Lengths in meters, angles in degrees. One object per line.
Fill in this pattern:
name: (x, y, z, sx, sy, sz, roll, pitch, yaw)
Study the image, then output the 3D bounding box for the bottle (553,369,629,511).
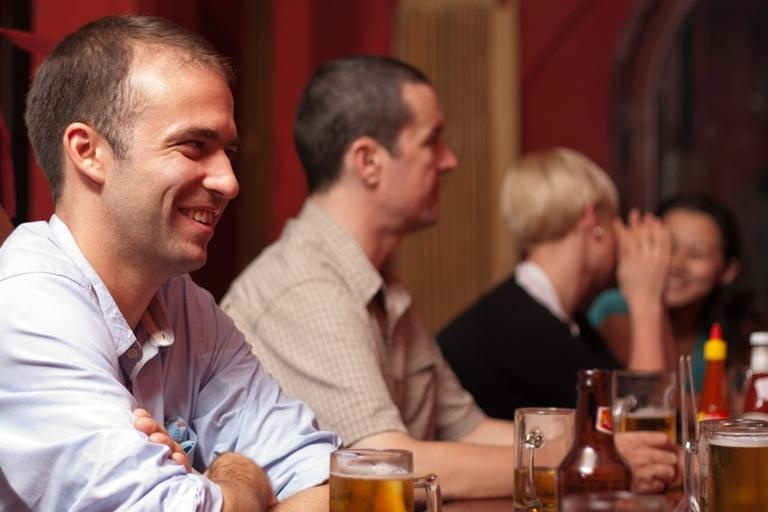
bottle: (0.395, 0.321, 1.523, 0.164, 0.230, 0.140, 4, -10, -37)

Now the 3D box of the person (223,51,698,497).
person: (0.072, 0.068, 2.274, 1.054, 1.091, 0.793, 5, 17, 10)

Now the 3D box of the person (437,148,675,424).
person: (0.598, 0.333, 2.950, 0.662, 1.398, 0.673, 0, 6, 5)
